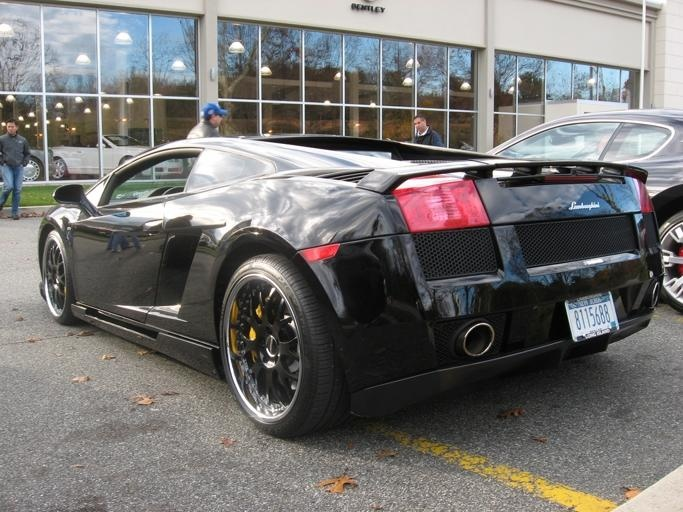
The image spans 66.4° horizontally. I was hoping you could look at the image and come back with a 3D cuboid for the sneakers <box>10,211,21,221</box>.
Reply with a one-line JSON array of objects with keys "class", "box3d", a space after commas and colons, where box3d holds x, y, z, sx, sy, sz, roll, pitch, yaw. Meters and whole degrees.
[{"class": "sneakers", "box3d": [-8.460, -1.042, 13.460, 0.182, 0.202, 0.530, -20, 16, -32]}]
